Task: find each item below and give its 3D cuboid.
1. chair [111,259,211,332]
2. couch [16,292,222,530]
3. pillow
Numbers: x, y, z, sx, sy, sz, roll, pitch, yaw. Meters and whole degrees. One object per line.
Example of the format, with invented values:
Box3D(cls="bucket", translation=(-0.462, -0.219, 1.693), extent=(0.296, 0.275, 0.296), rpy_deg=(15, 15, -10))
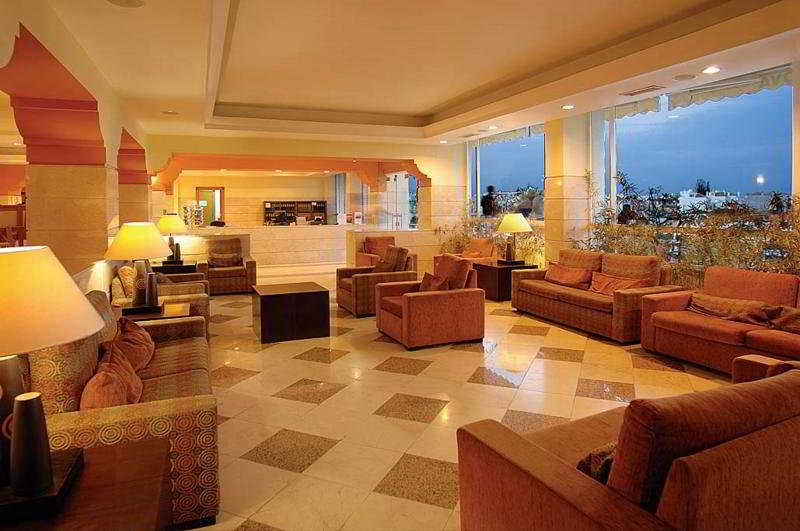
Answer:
Box3D(cls="chair", translation=(-2.668, 0.378, 5.921), extent=(1.094, 1.177, 1.089), rpy_deg=(-3, 7, -31))
Box3D(cls="couch", translation=(-1.652, 0.889, 3.011), extent=(0.606, 0.678, 1.402), rpy_deg=(-4, 12, -20))
Box3D(cls="pillow", translation=(-1.937, 0.701, 3.513), extent=(0.145, 0.176, 0.725), rpy_deg=(-29, 14, -11))
